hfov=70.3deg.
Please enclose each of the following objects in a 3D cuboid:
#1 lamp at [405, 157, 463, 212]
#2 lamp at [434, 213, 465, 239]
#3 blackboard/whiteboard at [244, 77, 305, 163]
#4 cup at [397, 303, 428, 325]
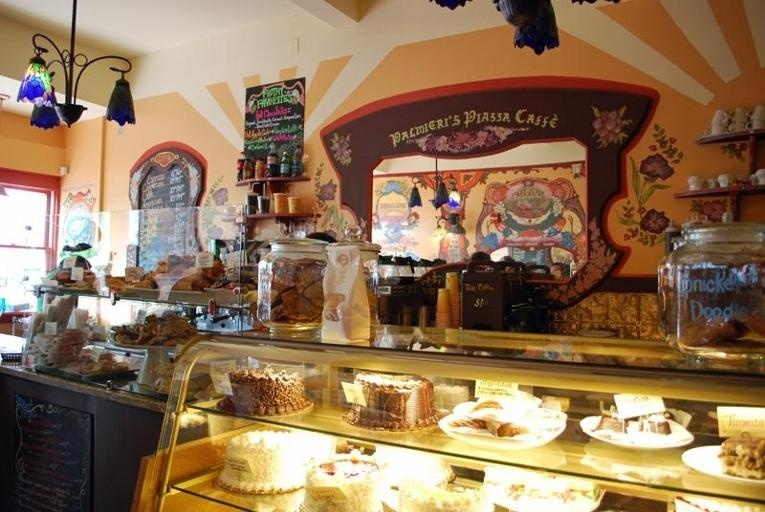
[{"bbox_3d":[0.575,-0.820,5.811,0.544,0.549,0.519,1,3,16],"label":"lamp"},{"bbox_3d":[0.718,-0.328,5.843,0.313,0.238,0.220,-4,-2,20],"label":"lamp"},{"bbox_3d":[-1.062,-1.342,5.426,0.994,1.042,0.047,0,-6,24],"label":"blackboard/whiteboard"},{"bbox_3d":[0.226,0.461,4.544,0.207,0.211,0.200,2,1,0],"label":"cup"}]
